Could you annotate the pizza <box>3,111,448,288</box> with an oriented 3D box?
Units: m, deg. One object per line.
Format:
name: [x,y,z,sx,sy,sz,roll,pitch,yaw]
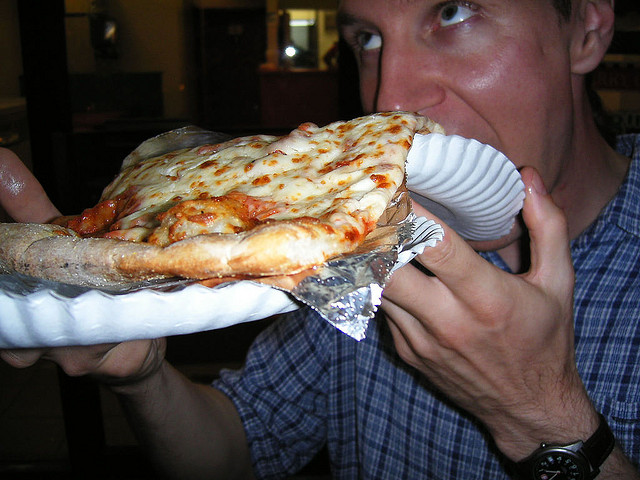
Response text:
pizza: [-0.287,-0.153,1.821,1.263,0.322,0.699,-1,24,8]
